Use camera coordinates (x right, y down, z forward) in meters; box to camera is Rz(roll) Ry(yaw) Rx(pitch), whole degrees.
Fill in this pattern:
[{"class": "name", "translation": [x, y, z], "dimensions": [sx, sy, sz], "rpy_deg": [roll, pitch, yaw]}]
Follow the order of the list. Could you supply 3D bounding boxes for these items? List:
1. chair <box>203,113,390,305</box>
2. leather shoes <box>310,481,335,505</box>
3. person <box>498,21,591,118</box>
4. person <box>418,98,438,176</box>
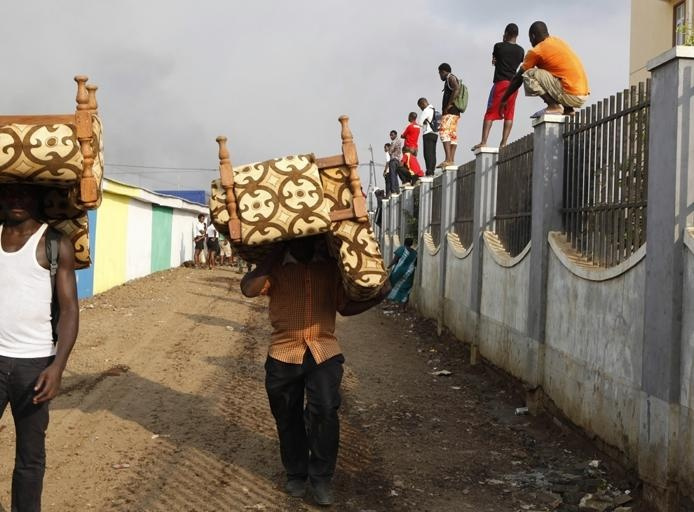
[{"class": "chair", "translation": [-0.313, -0.621, 5.423], "dimensions": [1.445, 1.049, 1.575], "rpy_deg": [-8, 7, -11]}, {"class": "leather shoes", "translation": [-0.203, 1.969, 5.376], "dimensions": [0.111, 0.114, 0.249], "rpy_deg": [-2, -4, -15]}, {"class": "person", "translation": [2.587, -2.419, 8.128], "dimensions": [0.823, 1.194, 0.568], "rpy_deg": [3, 5, 21]}, {"class": "person", "translation": [1.928, -2.824, 15.477], "dimensions": [0.438, 1.696, 1.693], "rpy_deg": [2, 4, 7]}]
